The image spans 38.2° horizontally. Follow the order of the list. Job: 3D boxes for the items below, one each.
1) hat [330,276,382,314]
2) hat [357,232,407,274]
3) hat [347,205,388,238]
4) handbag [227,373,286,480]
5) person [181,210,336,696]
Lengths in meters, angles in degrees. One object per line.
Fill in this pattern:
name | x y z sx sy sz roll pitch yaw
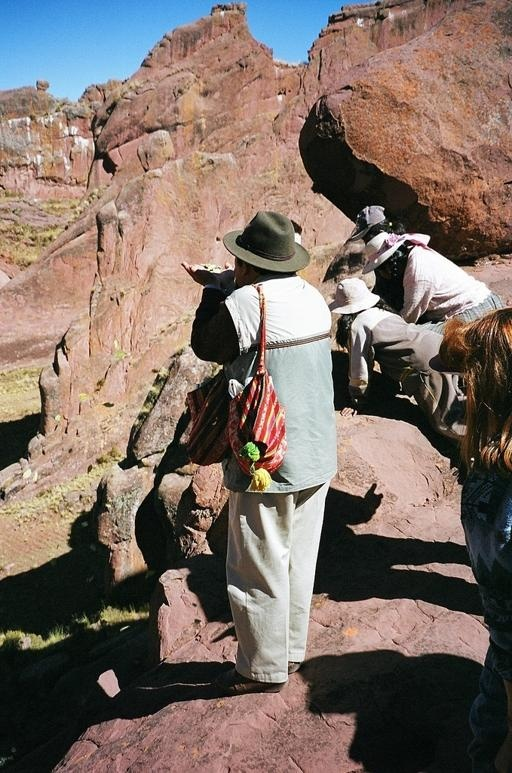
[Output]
hat | 0.536 -0.489 4.104 0.224 0.120 0.234 -35 26 -27
hat | 0.680 -0.746 4.134 0.247 0.094 0.209 -37 16 44
hat | 0.636 -0.959 4.420 0.244 0.118 0.177 -38 9 49
handbag | 0.003 0.139 2.467 0.195 0.356 0.157 0 11 1
person | 0.022 0.253 2.665 0.524 1.742 0.514 1 11 7
